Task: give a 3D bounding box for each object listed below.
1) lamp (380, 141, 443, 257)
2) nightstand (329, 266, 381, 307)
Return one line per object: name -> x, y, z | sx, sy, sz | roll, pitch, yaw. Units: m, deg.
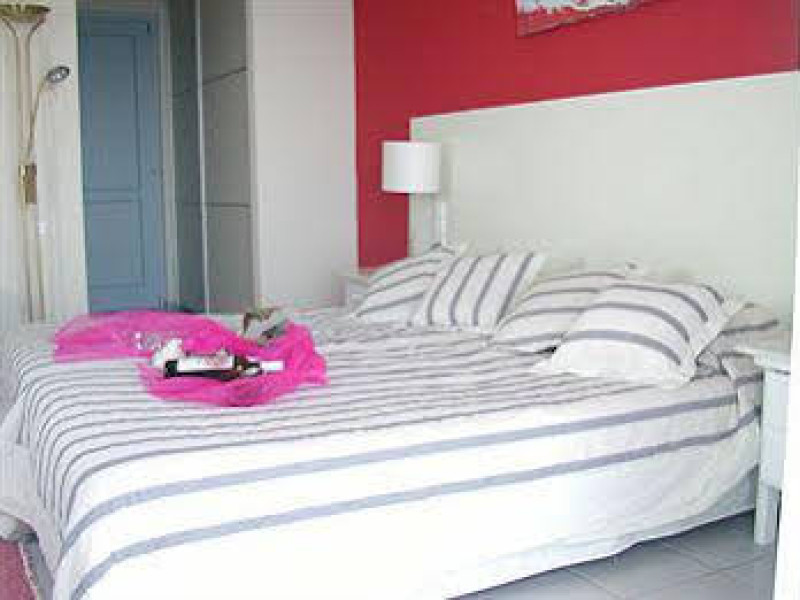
lamp -> 0.098, -0.759, 4.097 | 0.450, 0.708, 0.306 | 1, 12, -5
nightstand -> -0.313, -0.099, 4.363 | 0.442, 0.374, 0.295 | -2, 47, -6
